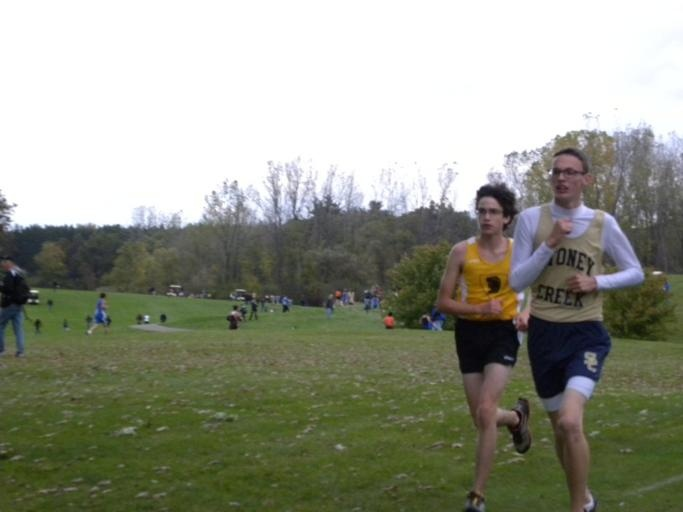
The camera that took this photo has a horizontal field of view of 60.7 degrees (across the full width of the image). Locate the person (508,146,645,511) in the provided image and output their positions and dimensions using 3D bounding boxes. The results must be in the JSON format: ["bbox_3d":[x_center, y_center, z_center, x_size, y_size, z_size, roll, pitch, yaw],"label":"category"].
[{"bbox_3d":[2.141,0.667,5.565,1.051,3.358,0.948,3,-5,-33],"label":"person"}]
